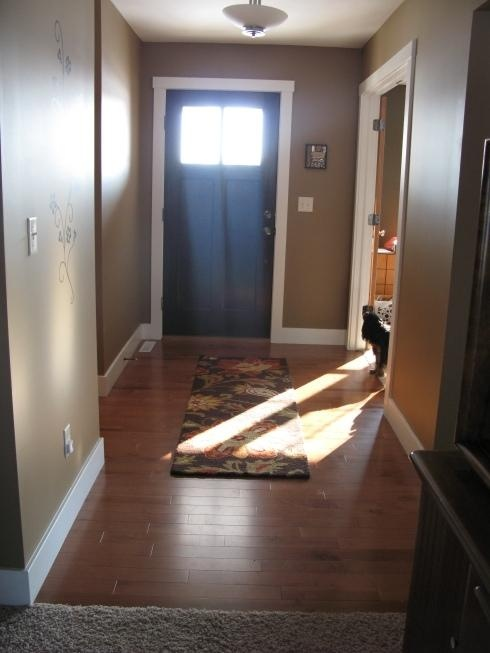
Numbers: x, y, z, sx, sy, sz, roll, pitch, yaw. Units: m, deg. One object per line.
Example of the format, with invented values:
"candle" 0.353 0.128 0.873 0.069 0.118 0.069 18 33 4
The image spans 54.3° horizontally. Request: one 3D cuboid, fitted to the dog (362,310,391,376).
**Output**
"dog" 1.038 0.155 3.843 0.205 0.509 0.303 4 13 14
